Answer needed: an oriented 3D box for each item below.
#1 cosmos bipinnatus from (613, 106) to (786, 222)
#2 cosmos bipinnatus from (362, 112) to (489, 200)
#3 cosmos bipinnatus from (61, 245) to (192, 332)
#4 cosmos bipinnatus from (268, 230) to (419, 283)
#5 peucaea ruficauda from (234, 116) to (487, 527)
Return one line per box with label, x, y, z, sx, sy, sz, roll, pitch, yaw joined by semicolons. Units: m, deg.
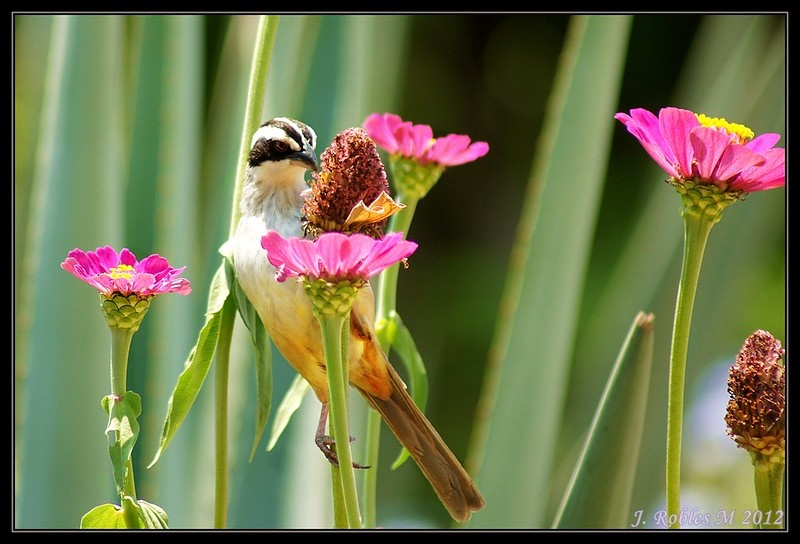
cosmos bipinnatus;0.513;-0.184;1.475;0.300;0.169;0.287;6;6;32
cosmos bipinnatus;0.051;-0.241;1.862;0.233;0.181;0.254;-2;10;0
cosmos bipinnatus;-0.492;0.043;1.553;0.233;0.141;0.241;1;-5;15
cosmos bipinnatus;-0.090;-0.022;1.361;0.234;0.080;0.138;-2;-10;17
peucaea ruficauda;-0.118;0.046;1.669;0.414;0.822;0.596;8;-11;-39
